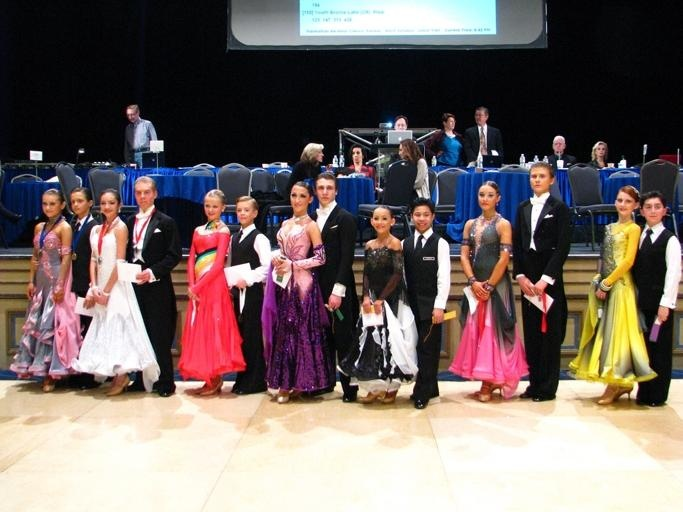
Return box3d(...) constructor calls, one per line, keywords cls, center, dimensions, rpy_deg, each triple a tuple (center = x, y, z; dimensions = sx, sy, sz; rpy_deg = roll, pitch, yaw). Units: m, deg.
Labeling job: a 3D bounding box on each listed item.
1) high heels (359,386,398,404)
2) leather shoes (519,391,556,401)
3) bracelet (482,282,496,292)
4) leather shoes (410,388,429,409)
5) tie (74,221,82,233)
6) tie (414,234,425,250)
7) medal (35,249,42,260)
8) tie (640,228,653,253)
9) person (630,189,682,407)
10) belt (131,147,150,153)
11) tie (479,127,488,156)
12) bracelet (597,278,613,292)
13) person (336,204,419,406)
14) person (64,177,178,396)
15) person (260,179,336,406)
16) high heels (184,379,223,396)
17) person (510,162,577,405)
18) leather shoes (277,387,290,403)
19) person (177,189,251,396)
box3d(cls="high heels", center=(0.302, 1.057, 5.045), dimensions=(0.309, 0.131, 0.109), rpy_deg=(4, -4, -11))
box3d(cls="leather shoes", center=(1.492, 1.077, 5.057), dimensions=(0.261, 0.111, 0.091), rpy_deg=(-10, -8, 34))
box3d(cls="bracelet", center=(1.102, 0.234, 4.960), dimensions=(0.052, 0.039, 0.074), rpy_deg=(23, -8, 18))
box3d(cls="leather shoes", center=(0.590, 1.061, 4.925), dimensions=(0.093, 0.110, 0.247), rpy_deg=(0, -11, 5))
box3d(cls="tie", center=(-2.176, -0.236, 5.481), dimensions=(0.065, 0.093, 0.035), rpy_deg=(0, -4, 25))
box3d(cls="tie", center=(0.595, -0.105, 5.006), dimensions=(0.046, 0.129, 0.124), rpy_deg=(4, -9, 12))
box3d(cls="medal", center=(-2.460, -0.015, 5.405), dimensions=(0.014, 0.074, 0.047), rpy_deg=(7, -12, -12))
box3d(cls="tie", center=(2.291, -0.114, 4.973), dimensions=(0.038, 0.158, 0.108), rpy_deg=(17, -13, -13))
box3d(cls="person", center=(2.334, 0.324, 4.954), dimensions=(0.326, 1.547, 0.309), rpy_deg=(10, 14, 44))
box3d(cls="belt", center=(-2.862, -1.517, 9.492), dimensions=(0.226, 0.059, 1.280), rpy_deg=(-4, 12, -18))
box3d(cls="tie", center=(1.959, -1.595, 9.109), dimensions=(0.113, 0.369, 0.170), rpy_deg=(1, 10, 6))
box3d(cls="bracelet", center=(1.983, 0.223, 4.977), dimensions=(0.082, 0.055, 0.085), rpy_deg=(-6, 22, -27))
box3d(cls="person", center=(0.287, 0.388, 4.968), dimensions=(0.585, 1.493, 0.456), rpy_deg=(1, 10, 8))
box3d(cls="person", center=(-1.660, 0.253, 5.183), dimensions=(0.799, 1.693, 0.524), rpy_deg=(-3, 11, -13))
box3d(cls="person", center=(-0.335, 0.275, 5.016), dimensions=(0.560, 1.638, 0.400), rpy_deg=(1, 10, 5))
box3d(cls="high heels", center=(-1.064, 1.042, 5.274), dimensions=(0.326, 0.152, 0.114), rpy_deg=(10, -10, -31))
box3d(cls="person", center=(1.511, 0.194, 5.048), dimensions=(0.427, 1.776, 0.370), rpy_deg=(2, 11, 15))
box3d(cls="leather shoes", center=(-0.437, 1.056, 5.021), dimensions=(0.073, 0.097, 0.214), rpy_deg=(0, -14, 3))
box3d(cls="person", center=(-1.000, 0.217, 5.124), dimensions=(0.485, 1.408, 0.433), rpy_deg=(0, 10, 0))
